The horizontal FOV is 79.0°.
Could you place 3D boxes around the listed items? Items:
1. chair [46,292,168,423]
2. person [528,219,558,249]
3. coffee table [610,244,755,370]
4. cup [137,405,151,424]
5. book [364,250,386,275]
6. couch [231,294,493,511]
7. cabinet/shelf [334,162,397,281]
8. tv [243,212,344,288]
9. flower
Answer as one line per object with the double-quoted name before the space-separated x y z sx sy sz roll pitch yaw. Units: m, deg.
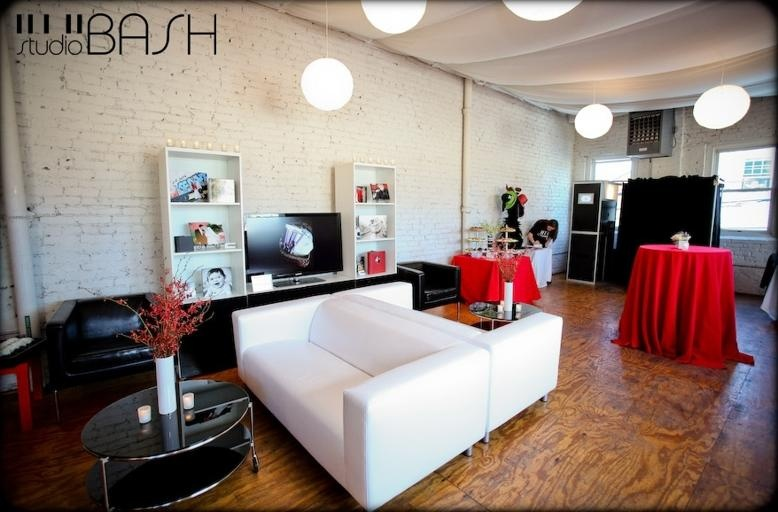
"chair" -3.088 1.058 5.273 1.274 1.032 1.234 -5 9 -37
"person" 2.976 -0.449 9.169 0.383 0.376 0.717 19 -15 -1
"coffee table" 3.719 0.509 6.204 1.505 1.198 1.459 7 12 34
"cup" -2.121 1.364 4.105 0.108 0.131 0.134 -7 9 -29
"book" -0.200 0.096 6.773 0.346 0.309 0.115 -5 12 -40
"couch" -0.174 1.169 4.322 1.704 1.018 2.542 -5 15 -37
"cabinet/shelf" -0.293 -0.546 6.672 0.884 1.607 0.588 -6 9 -24
"tv" -1.281 -0.094 6.094 1.099 0.636 0.107 -2 3 -35
"flower" -2.178 0.490 4.426 1.216 0.737 1.023 -1 5 -30
